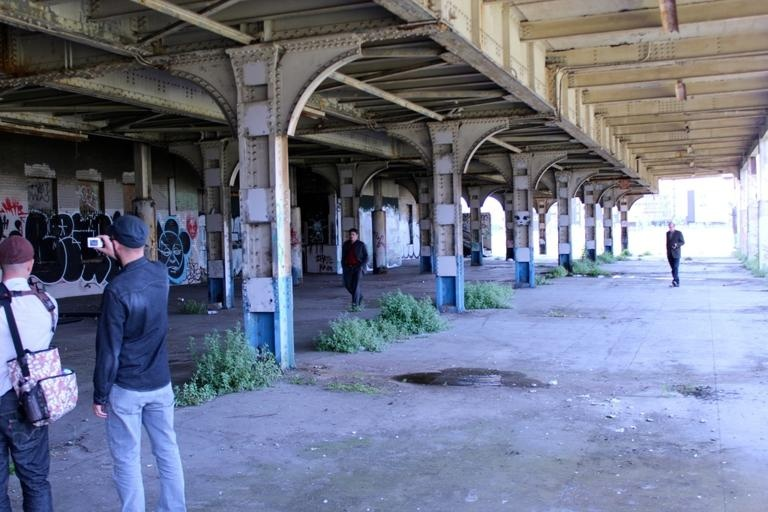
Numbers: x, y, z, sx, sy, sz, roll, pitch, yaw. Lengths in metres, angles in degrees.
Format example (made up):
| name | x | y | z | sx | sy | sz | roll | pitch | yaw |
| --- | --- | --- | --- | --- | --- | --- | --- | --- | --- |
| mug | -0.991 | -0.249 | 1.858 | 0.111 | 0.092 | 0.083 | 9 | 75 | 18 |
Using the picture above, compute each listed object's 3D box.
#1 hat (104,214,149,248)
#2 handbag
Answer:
| name | x | y | z | sx | sy | sz | roll | pitch | yaw |
| --- | --- | --- | --- | --- | --- | --- | --- | --- | --- |
| hat | -3.057 | -0.360 | 8.245 | 0.475 | 0.257 | 0.359 | 30 | 28 | 23 |
| handbag | -3.907 | 1.502 | 7.925 | 0.681 | 0.888 | 0.255 | -2 | 2 | -29 |
